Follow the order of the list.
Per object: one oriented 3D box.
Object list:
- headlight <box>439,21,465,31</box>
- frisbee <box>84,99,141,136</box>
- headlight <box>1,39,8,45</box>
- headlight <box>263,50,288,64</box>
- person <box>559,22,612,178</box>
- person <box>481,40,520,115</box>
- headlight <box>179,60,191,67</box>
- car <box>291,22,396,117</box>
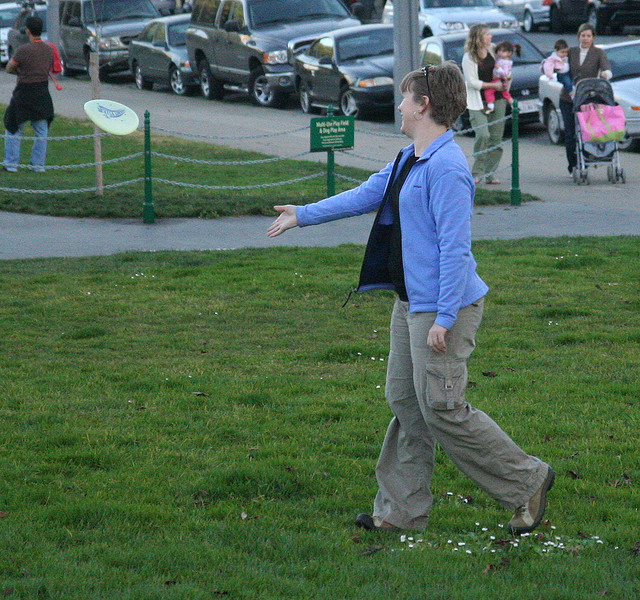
[{"bbox_3d":[2.512,-5.317,32.772,0.314,0.136,0.260,-3,12,2],"label":"headlight"},{"bbox_3d":[-2.379,-2.084,19.305,0.586,0.379,0.670,1,8,-8],"label":"frisbee"},{"bbox_3d":[-7.516,-6.172,40.418,0.095,0.120,0.645,-1,9,-17],"label":"headlight"},{"bbox_3d":[-0.780,-4.252,29.545,0.416,0.247,0.242,1,8,-4],"label":"headlight"},{"bbox_3d":[3.471,-2.628,22.411,0.629,2.034,0.959,2,7,7],"label":"person"},{"bbox_3d":[2.262,-2.879,21.648,0.430,0.915,0.327,-11,31,-25],"label":"person"},{"bbox_3d":[-2.589,-4.527,32.373,0.237,0.124,0.083,9,10,41],"label":"headlight"},{"bbox_3d":[0.414,-3.889,28.504,1.236,1.022,2.470,-7,15,-25],"label":"car"}]
